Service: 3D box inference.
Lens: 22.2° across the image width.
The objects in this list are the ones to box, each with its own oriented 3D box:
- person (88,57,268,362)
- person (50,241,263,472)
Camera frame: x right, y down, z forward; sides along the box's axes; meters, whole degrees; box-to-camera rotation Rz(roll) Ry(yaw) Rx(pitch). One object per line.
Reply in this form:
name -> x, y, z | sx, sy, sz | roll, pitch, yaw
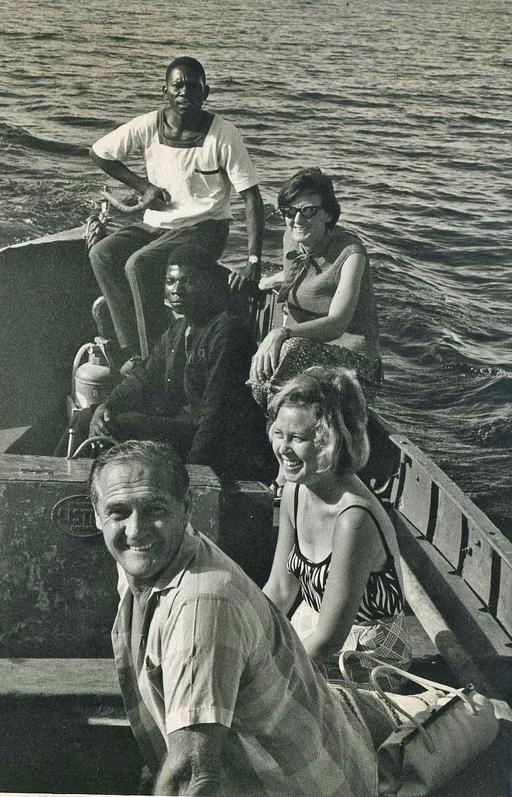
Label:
person -> -0.241, -0.526, 3.857 | 0.472, 1.001, 0.463 | 3, -10, -19
person -> -0.254, 0.067, 3.971 | 0.381, 1.040, 0.511 | 5, 0, 31
